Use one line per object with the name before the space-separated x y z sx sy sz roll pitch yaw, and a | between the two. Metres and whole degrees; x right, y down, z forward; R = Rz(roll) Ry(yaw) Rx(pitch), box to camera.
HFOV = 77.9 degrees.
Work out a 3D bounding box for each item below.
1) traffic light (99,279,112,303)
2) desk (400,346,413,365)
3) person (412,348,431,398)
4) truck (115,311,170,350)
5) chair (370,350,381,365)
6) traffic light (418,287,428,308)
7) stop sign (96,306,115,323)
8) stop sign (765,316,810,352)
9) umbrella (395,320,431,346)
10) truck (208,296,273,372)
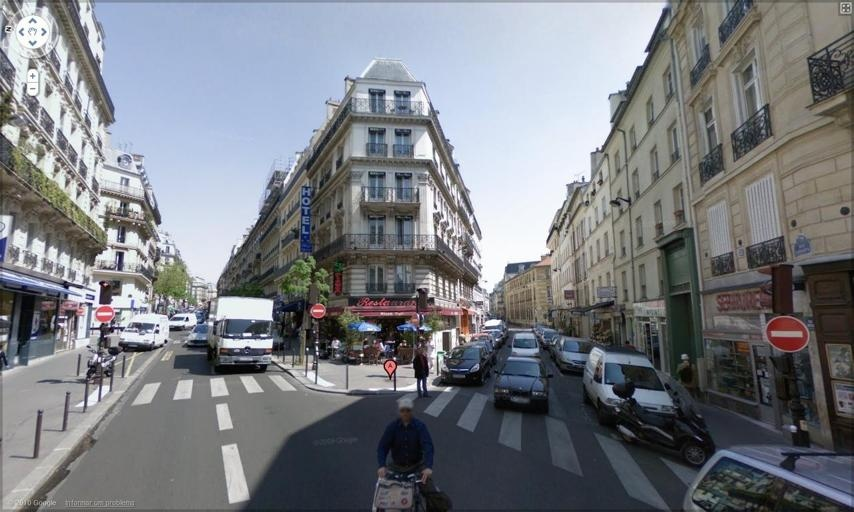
traffic light | -14.395 1.704 23.687 0.427 1.021 0.475 10 -14 -33
desk | -1.257 6.309 33.089 0.918 1.296 0.938 1 -12 -3
person | -0.226 5.358 24.126 0.737 2.206 1.221 2 -12 1
truck | -20.550 5.628 38.257 2.283 2.120 4.320 2 -16 -15
chair | -3.223 6.406 33.008 0.722 1.360 0.763 5 -16 -9
traffic light | -0.175 2.161 26.337 0.591 1.027 0.872 0 -4 1
stop sign | -14.536 2.643 23.815 0.697 0.714 1.018 10 -15 -33
stop sign | 12.527 2.692 18.195 1.382 1.635 0.258 -4 -4 43
umbrella | -0.648 4.944 35.111 2.093 0.869 2.165 8 -7 -30
truck | -10.573 4.590 30.162 2.349 2.818 5.353 3 -16 -20
